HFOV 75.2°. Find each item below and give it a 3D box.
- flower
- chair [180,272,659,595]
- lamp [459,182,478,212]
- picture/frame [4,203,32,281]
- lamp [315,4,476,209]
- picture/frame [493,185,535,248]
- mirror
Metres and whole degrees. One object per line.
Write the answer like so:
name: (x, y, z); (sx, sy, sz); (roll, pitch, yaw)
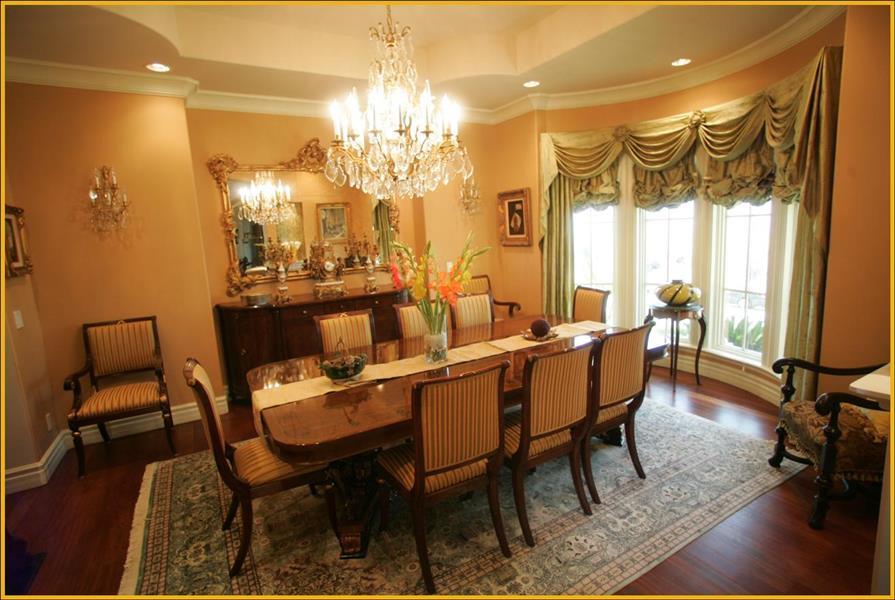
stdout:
flower: (-0.088, -0.058, 4.704); (0.526, 0.684, 0.694); (5, -1, 8)
chair: (-0.474, 1.149, 4.339); (2.623, 1.629, 1.207); (-7, 8, -18)
lamp: (0.257, -1.328, 7.405); (0.329, 0.455, 0.211); (-7, 11, -30)
picture/frame: (-3.728, -0.497, 4.997); (0.105, 0.613, 0.394); (-7, 9, -15)
lamp: (-0.609, -1.840, 5.996); (1.682, 1.797, 2.825); (-4, 7, 3)
picture/frame: (0.853, -1.050, 7.231); (0.117, 0.951, 0.729); (-10, 12, -37)
mirror: (-1.644, -0.905, 6.244); (1.708, 1.846, 0.071); (-8, 12, -37)
